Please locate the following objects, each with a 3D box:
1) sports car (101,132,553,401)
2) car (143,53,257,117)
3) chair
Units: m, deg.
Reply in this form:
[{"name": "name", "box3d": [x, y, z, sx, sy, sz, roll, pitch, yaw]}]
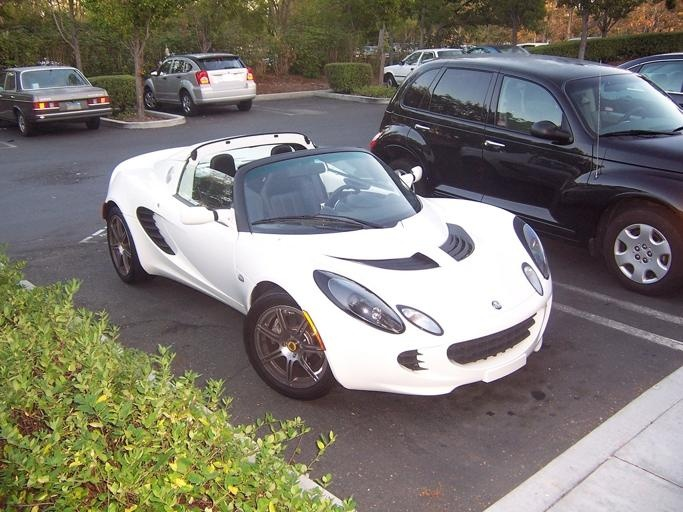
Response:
[{"name": "sports car", "box3d": [-0.448, -0.284, 5.271, 5.197, 1.886, 2.596, 20, 28, 36]}, {"name": "car", "box3d": [-5.678, -6.673, 18.945, 4.363, 2.207, 1.835, 14, 24, 26]}, {"name": "chair", "box3d": [-0.898, -0.793, 4.862, 1.129, 0.548, 0.849, 16, 31, 42]}]
